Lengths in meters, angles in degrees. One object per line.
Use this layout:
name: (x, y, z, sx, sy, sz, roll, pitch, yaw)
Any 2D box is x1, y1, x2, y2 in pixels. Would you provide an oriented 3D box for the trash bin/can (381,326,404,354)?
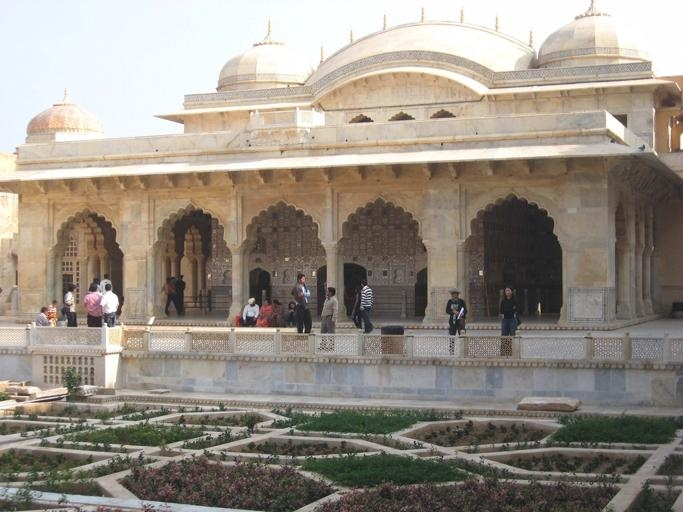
trash bin/can: (1.037, 1.693, 29.855, 0.507, 0.460, 0.483, 0, -3, -2)

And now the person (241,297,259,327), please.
person: (-2.015, 1.192, 32.771, 0.410, 0.751, 0.876, -3, 13, -4)

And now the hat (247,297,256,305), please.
hat: (-1.954, 0.961, 32.463, 0.145, 0.175, 0.186, 0, -6, -39)
